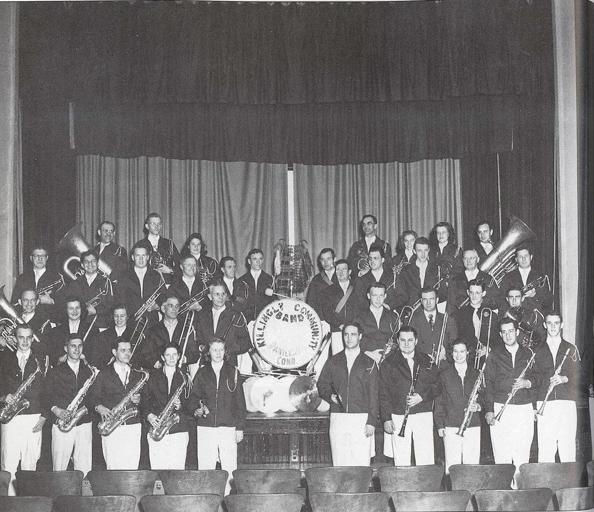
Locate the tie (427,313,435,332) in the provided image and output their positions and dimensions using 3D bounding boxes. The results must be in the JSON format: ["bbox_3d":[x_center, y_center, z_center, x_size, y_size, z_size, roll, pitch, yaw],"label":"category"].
[{"bbox_3d":[1.786,0.895,11.411,0.099,0.165,0.034,-2,-14,-2],"label":"tie"}]

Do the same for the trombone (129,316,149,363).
[{"bbox_3d":[-2.098,1.114,11.364,0.124,0.592,0.144,10,-26,3],"label":"trombone"}]

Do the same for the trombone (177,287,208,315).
[{"bbox_3d":[-1.371,0.621,11.509,0.549,0.210,0.168,-37,16,-20],"label":"trombone"}]

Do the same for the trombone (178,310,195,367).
[{"bbox_3d":[-1.465,1.097,11.303,0.132,0.758,0.152,-9,-15,43],"label":"trombone"}]

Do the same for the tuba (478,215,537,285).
[{"bbox_3d":[2.853,-0.051,11.590,0.539,1.111,0.437,-2,-4,43],"label":"tuba"}]

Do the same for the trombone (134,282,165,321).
[{"bbox_3d":[-1.982,0.647,11.443,0.091,0.496,0.124,36,-21,-5],"label":"trombone"}]

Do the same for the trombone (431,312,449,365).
[{"bbox_3d":[1.877,1.144,11.335,0.129,0.960,0.136,5,-25,12],"label":"trombone"}]

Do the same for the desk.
[{"bbox_3d":[-0.151,2.429,10.960,0.962,0.806,0.703,-1,-8,4],"label":"desk"}]
